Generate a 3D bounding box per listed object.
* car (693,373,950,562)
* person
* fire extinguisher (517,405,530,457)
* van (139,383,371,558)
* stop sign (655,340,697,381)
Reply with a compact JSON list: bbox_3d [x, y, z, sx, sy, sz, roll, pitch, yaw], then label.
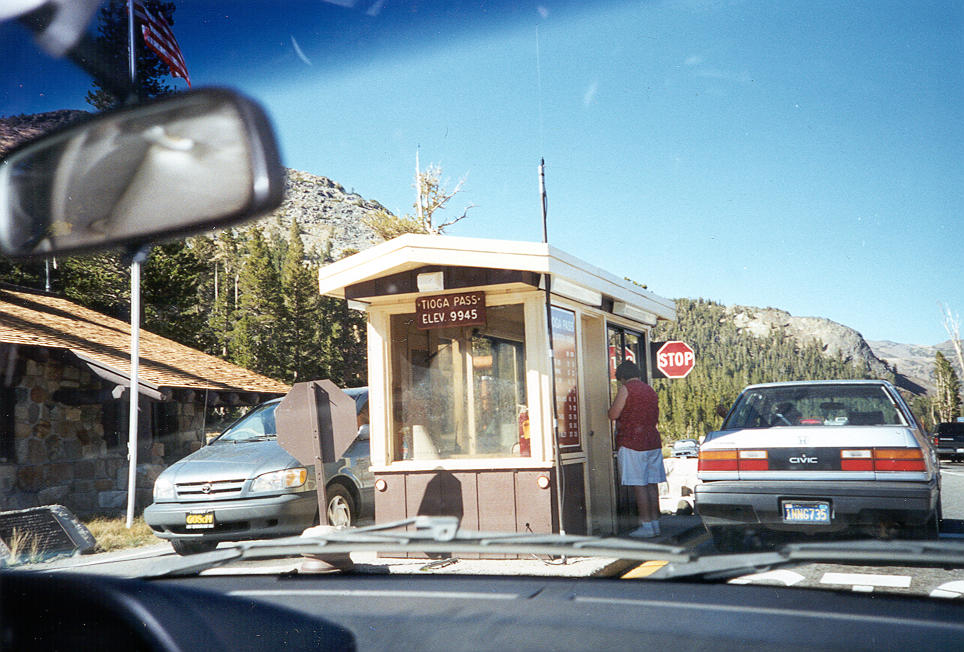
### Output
[{"bbox_3d":[2.899,1.154,7.437,1.351,1.088,2.394,-4,-4,29],"label":"car"},{"bbox_3d":[1.729,1.354,9.784,0.583,1.910,1.094,-1,-1,10],"label":"person"},{"bbox_3d":[0.404,1.030,8.620,0.113,0.495,0.073,-1,-1,2],"label":"fire extinguisher"},{"bbox_3d":[-2.383,1.826,10.356,1.547,1.399,3.057,-10,-18,21],"label":"van"},{"bbox_3d":[2.701,0.478,12.315,0.704,0.630,0.095,13,-13,-20],"label":"stop sign"}]
